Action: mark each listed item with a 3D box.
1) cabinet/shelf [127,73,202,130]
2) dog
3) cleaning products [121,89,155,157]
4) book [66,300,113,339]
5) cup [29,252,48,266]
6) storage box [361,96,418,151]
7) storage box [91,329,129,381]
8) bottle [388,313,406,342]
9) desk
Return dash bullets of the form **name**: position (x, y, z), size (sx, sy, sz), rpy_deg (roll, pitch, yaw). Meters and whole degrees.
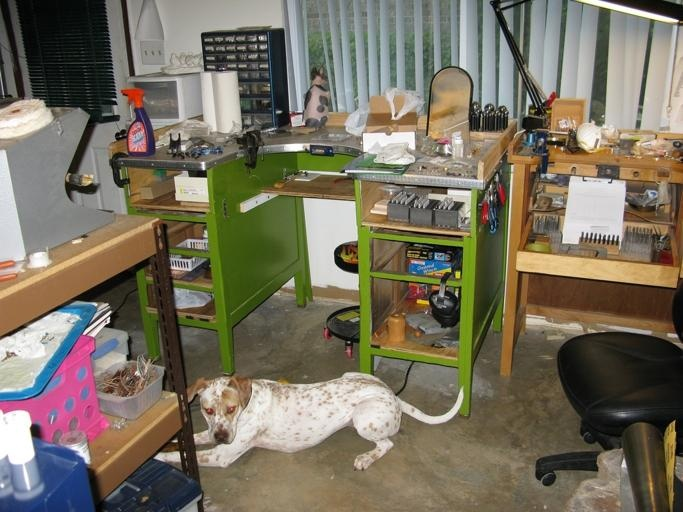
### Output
- **cabinet/shelf**: position (-1.154, -1.085, 3.611), size (0.559, 0.356, 0.312), rpy_deg (9, 23, 33)
- **dog**: position (-0.166, 0.661, 2.348), size (1.128, 0.369, 0.447), rpy_deg (-3, 27, -4)
- **cleaning products**: position (-1.074, -0.709, 2.718), size (0.147, 0.324, 0.246), rpy_deg (-9, 23, -18)
- **book**: position (-0.789, 0.216, 1.673), size (0.125, 0.044, 0.126), rpy_deg (6, 22, 13)
- **cup**: position (-0.817, 0.008, 1.392), size (0.039, 0.028, 0.038), rpy_deg (1, 10, 0)
- **storage box**: position (0.261, -0.690, 2.718), size (0.353, 0.225, 0.363), rpy_deg (4, 34, 11)
- **storage box**: position (-0.948, 0.388, 2.123), size (0.139, 0.080, 0.177), rpy_deg (3, 18, 8)
- **bottle**: position (0.278, 0.380, 2.734), size (0.120, 0.189, 0.120), rpy_deg (0, 16, 0)
- **desk**: position (-0.124, -0.052, 2.837), size (1.921, 1.372, 0.939), rpy_deg (3, 25, 28)
